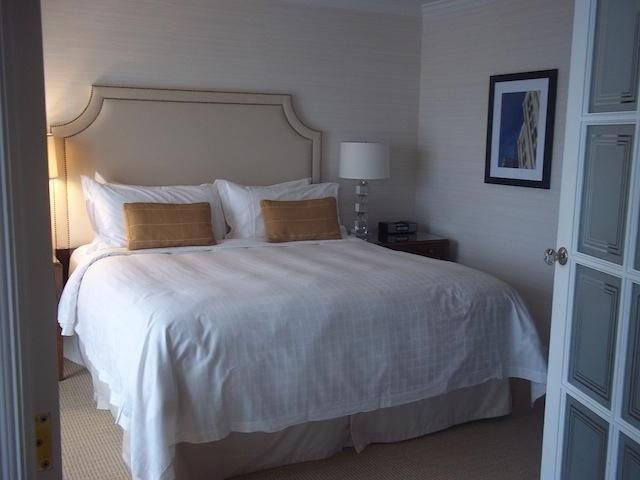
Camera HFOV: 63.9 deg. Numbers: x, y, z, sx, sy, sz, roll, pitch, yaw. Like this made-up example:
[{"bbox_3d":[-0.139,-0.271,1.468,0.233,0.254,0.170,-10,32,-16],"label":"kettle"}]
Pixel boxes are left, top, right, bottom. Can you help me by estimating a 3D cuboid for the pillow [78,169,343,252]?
[{"bbox_3d":[-0.931,-0.267,4.334,1.915,0.520,0.527,-5,13,-27],"label":"pillow"}]
